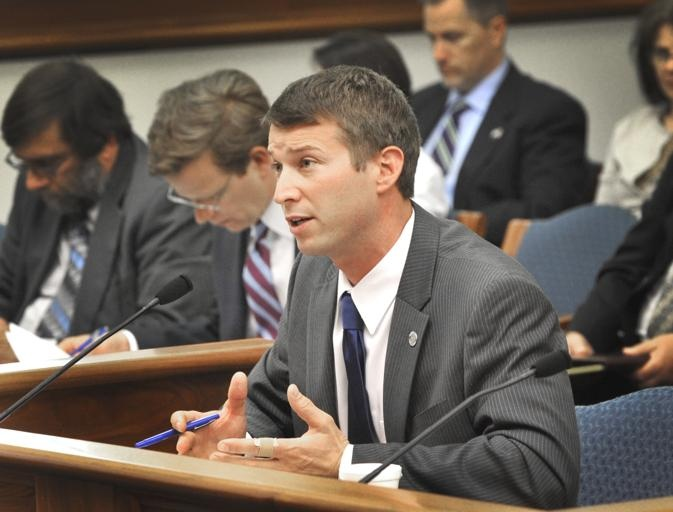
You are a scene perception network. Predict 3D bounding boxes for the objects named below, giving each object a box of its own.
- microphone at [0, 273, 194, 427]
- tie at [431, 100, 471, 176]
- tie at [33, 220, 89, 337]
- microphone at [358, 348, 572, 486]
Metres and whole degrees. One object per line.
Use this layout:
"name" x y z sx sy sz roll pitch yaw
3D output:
"microphone" -0.631 0.236 1.823 0.554 0.049 0.058 -34 16 -7
"tie" 0.393 -0.409 2.469 0.085 0.248 0.068 32 28 22
"tie" -0.770 0.082 2.052 0.092 0.303 0.213 8 8 -41
"microphone" 0.247 0.294 1.294 0.391 0.045 0.038 -34 -1 -9
